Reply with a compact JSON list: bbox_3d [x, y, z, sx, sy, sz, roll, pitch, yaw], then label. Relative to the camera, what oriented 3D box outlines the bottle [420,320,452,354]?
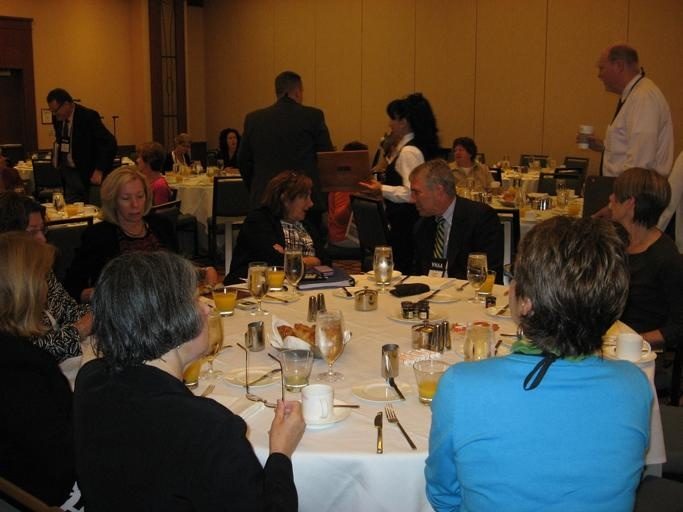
[{"bbox_3d":[0.340,0.281,2.193,0.096,0.112,0.092,-10,17,-26],"label":"bottle"}]

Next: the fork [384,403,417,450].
[{"bbox_3d":[0.158,0.445,1.695,0.028,0.025,0.212,-26,26,-1],"label":"fork"}]

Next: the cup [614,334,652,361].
[{"bbox_3d":[0.943,0.301,2.010,0.115,0.091,0.090,4,8,31],"label":"cup"}]

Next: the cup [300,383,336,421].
[{"bbox_3d":[-0.079,0.399,1.718,0.068,0.072,0.097,2,16,1],"label":"cup"}]

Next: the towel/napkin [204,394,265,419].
[{"bbox_3d":[-0.289,0.433,1.773,0.107,0.030,0.112,11,11,34],"label":"towel/napkin"}]

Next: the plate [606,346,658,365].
[{"bbox_3d":[0.898,0.310,1.924,0.122,0.027,0.129,-2,6,1],"label":"plate"}]

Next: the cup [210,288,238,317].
[{"bbox_3d":[-0.498,0.192,2.579,0.090,0.097,0.109,1,2,1],"label":"cup"}]

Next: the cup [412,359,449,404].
[{"bbox_3d":[0.252,0.356,1.834,0.134,0.130,0.135,2,5,0],"label":"cup"}]

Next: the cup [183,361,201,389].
[{"bbox_3d":[-0.457,0.357,1.887,0.039,0.050,0.123,3,15,4],"label":"cup"}]

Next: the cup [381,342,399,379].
[{"bbox_3d":[0.152,0.337,1.955,0.069,0.131,0.077,-3,13,-10],"label":"cup"}]

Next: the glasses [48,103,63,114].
[{"bbox_3d":[-3.128,-1.588,6.743,0.098,0.068,0.132,13,-2,1],"label":"glasses"}]

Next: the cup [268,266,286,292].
[{"bbox_3d":[-0.294,0.120,2.823,0.078,0.078,0.094,1,-1,4],"label":"cup"}]

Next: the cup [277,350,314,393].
[{"bbox_3d":[-0.142,0.342,1.877,0.105,0.113,0.119,1,6,-3],"label":"cup"}]

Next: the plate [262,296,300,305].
[{"bbox_3d":[-0.278,0.189,2.691,0.093,0.018,0.059,8,11,21],"label":"plate"}]
